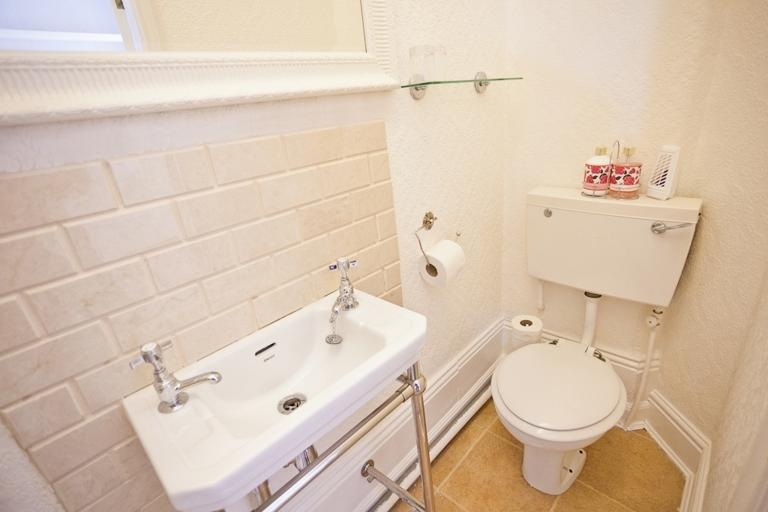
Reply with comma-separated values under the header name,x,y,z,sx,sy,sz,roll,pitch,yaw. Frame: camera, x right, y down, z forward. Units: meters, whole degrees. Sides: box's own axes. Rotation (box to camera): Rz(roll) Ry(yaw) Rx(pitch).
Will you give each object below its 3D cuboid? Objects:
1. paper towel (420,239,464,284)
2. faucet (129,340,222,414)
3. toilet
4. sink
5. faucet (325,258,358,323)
name,x,y,z,sx,sy,sz,roll,pitch,yaw
paper towel,0.222,0.031,2.039,0.197,0.160,0.169,-24,13,-35
faucet,-0.584,0.309,1.351,0.177,0.195,0.190,-24,31,-34
toilet,0.789,0.370,1.997,0.646,1.133,0.785,12,31,31
sink,-0.279,0.384,1.457,0.816,0.250,0.419,-22,30,-33
faucet,-0.137,0.127,1.660,0.101,0.168,0.156,6,22,-9
